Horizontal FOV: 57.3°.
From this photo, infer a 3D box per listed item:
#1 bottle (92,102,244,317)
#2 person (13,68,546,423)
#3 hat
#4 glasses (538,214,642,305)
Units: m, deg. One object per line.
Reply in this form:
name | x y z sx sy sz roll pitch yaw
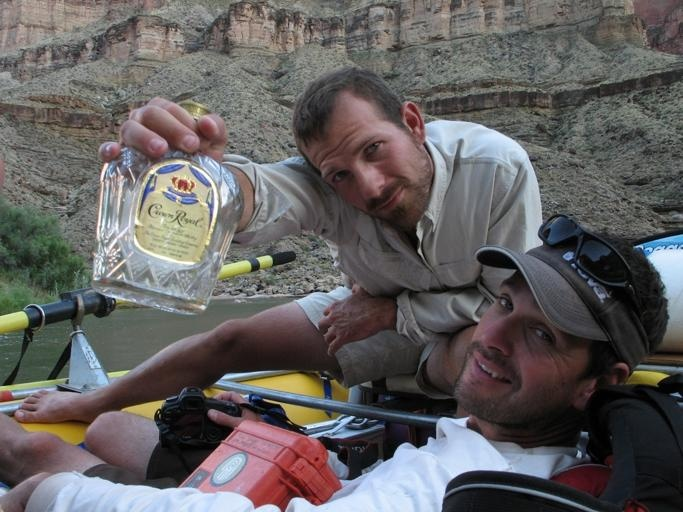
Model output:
bottle | -0.314 -0.049 1.134 0.260 0.286 0.170 1 12 -8
person | 0.022 -0.062 1.971 1.673 0.871 0.817 -2 11 -33
hat | 0.455 0.124 1.219 0.307 0.108 0.211 32 6 -21
glasses | 0.527 0.016 1.285 0.236 0.072 0.219 33 10 -42
